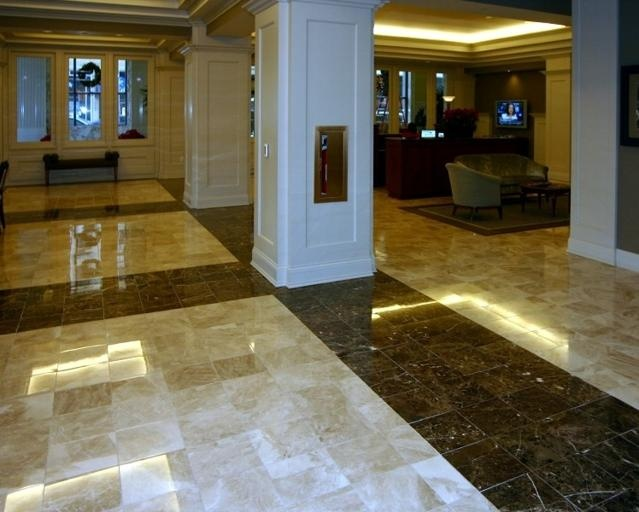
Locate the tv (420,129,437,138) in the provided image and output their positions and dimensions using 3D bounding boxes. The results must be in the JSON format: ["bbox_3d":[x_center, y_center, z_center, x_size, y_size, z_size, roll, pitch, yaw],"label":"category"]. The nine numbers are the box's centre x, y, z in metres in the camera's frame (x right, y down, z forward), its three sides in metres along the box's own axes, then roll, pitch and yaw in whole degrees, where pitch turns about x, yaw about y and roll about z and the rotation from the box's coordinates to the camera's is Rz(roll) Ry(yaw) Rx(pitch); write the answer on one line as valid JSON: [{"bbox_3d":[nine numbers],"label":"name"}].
[{"bbox_3d":[2.375,-2.627,10.814,0.350,0.149,0.941,2,16,11],"label":"tv"}]

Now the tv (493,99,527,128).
[{"bbox_3d":[5.467,-4.021,14.274,0.218,0.763,1.068,-10,18,-24],"label":"tv"}]

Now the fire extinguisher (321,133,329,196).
[{"bbox_3d":[0.053,-0.970,5.308,0.065,0.616,0.138,5,18,23],"label":"fire extinguisher"}]

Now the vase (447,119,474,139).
[{"bbox_3d":[3.104,-2.747,10.864,0.550,0.247,0.413,-5,12,-21],"label":"vase"}]

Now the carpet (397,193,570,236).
[{"bbox_3d":[3.143,-0.781,8.736,2.696,0.153,2.309,-9,18,-24],"label":"carpet"}]

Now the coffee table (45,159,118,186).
[{"bbox_3d":[-5.785,-2.087,12.255,1.655,0.570,0.672,-9,18,-25],"label":"coffee table"}]

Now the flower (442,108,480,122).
[{"bbox_3d":[3.082,-3.084,10.957,0.473,0.251,0.441,0,12,-2],"label":"flower"}]
